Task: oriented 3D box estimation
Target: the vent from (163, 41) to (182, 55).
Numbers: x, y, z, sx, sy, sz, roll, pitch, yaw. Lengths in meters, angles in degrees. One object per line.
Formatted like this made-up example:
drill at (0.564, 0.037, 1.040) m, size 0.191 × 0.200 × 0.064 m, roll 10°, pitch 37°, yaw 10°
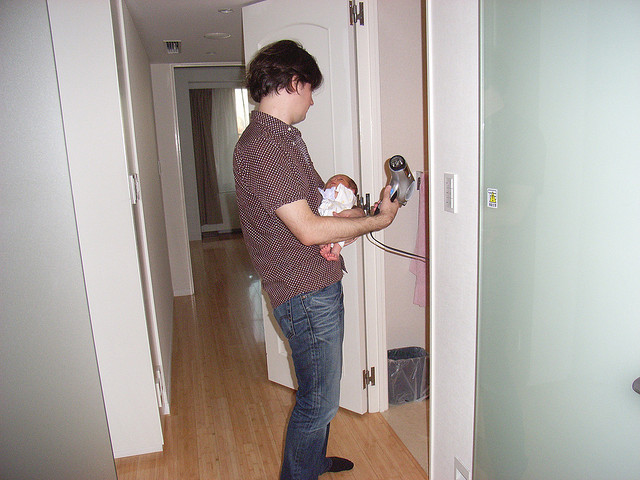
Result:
vent at (-1.213, -1.580, 4.069) m, size 0.090 × 0.043 × 0.134 m, roll -4°, pitch -21°, yaw -7°

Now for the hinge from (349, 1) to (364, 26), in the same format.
hinge at (0.178, -1.102, 2.410) m, size 0.088 × 0.100 × 0.031 m, roll 3°, pitch 16°, yaw 9°

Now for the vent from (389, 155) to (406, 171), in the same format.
vent at (0.295, -0.294, 1.906) m, size 0.068 × 0.052 × 0.064 m, roll 2°, pitch 13°, yaw 18°

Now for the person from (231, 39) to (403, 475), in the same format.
person at (-0.026, 0.139, 1.848) m, size 0.532 × 1.699 × 0.324 m, roll -4°, pitch 11°, yaw -10°

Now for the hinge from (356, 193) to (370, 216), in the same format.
hinge at (0.219, -0.176, 2.510) m, size 0.060 × 0.087 × 0.130 m, roll -1°, pitch 12°, yaw 6°

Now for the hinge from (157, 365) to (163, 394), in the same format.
hinge at (-0.842, 0.743, 2.621) m, size 0.027 × 0.120 × 0.030 m, roll -3°, pitch 5°, yaw 1°

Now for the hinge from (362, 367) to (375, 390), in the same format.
hinge at (0.267, 0.764, 2.728) m, size 0.088 × 0.106 × 0.023 m, roll 1°, pitch -1°, yaw -18°

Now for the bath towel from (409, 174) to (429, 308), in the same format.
bath towel at (0.579, 0.016, 2.853) m, size 0.101 × 0.750 × 0.125 m, roll 6°, pitch -14°, yaw -6°
